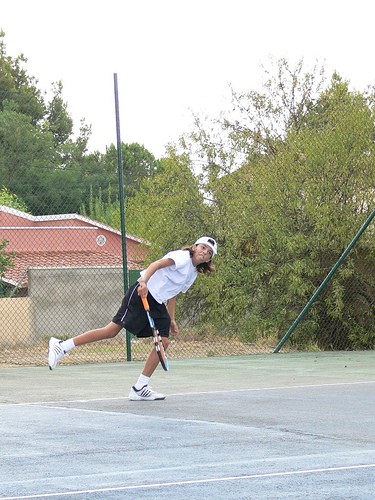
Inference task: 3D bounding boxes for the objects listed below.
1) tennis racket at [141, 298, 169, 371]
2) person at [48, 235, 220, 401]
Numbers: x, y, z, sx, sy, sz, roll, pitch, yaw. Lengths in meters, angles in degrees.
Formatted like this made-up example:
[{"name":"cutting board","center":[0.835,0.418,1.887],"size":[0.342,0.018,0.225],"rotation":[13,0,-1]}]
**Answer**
[{"name":"tennis racket","center":[-0.299,0.776,5.065],"size":[0.267,0.678,0.403],"rotation":[3,-4,-4]},{"name":"person","center":[-0.432,0.637,5.217],"size":[1.335,1.553,0.785],"rotation":[3,-4,-13]}]
